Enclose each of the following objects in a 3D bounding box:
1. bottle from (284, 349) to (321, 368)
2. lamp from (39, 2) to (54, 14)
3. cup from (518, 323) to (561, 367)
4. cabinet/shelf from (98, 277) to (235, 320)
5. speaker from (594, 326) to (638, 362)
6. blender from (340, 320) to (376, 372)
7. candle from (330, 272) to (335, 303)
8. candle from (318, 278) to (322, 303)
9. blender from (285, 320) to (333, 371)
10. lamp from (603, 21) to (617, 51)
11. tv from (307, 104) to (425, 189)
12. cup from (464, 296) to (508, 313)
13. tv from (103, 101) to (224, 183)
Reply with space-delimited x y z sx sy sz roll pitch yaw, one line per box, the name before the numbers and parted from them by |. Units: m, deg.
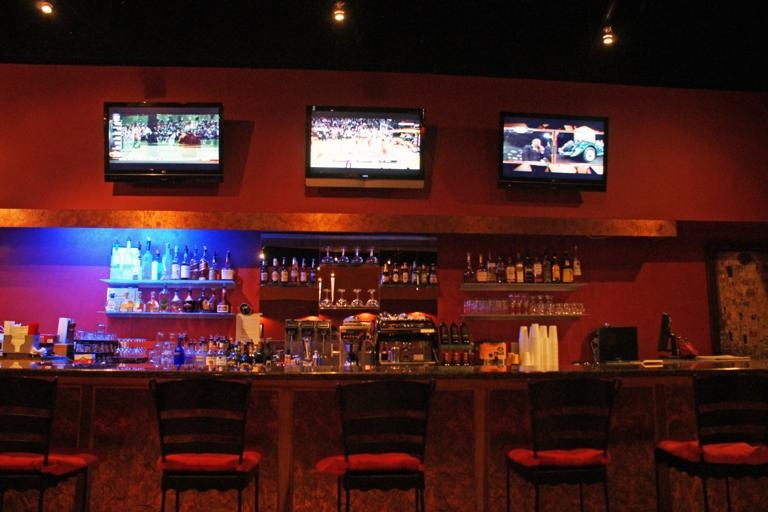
bottle | -0.975 1.226 9.015 0.312 0.124 0.300 1 -3 0
lamp | -3.881 -2.850 8.756 0.106 0.097 0.109 33 21 31
cup | 1.843 1.062 9.216 0.420 0.480 0.598 0 -6 -8
cabinet/shelf | -2.693 0.501 9.595 1.607 0.438 0.264 0 7 -12
speaker | 2.881 1.104 9.529 0.527 0.419 0.164 0 -5 -8
blender | -0.329 1.139 9.387 0.478 0.616 0.463 11 -15 -41
candle | -0.648 0.375 9.482 0.058 0.345 0.018 -1 -5 -4
candle | -0.797 0.412 9.480 0.059 0.288 0.037 -1 -5 -3
blender | -1.017 1.114 9.426 0.676 0.613 0.313 4 -5 -36
lamp | 2.596 -2.597 8.892 0.185 0.234 0.194 -4 -6 30
tv | -0.248 -1.312 9.061 1.027 0.655 0.071 1 1 -2
cup | 1.254 0.641 9.454 0.509 0.181 0.182 -1 -5 5
tv | -2.593 -1.346 8.973 1.379 0.878 0.189 -1 -5 -3
